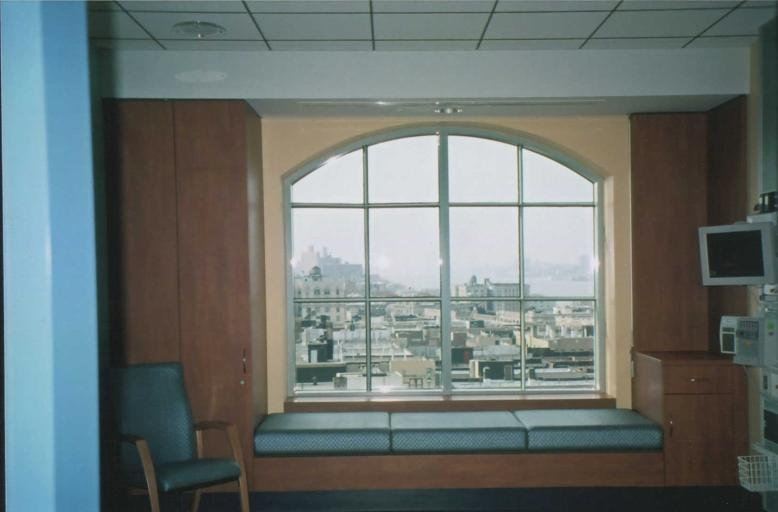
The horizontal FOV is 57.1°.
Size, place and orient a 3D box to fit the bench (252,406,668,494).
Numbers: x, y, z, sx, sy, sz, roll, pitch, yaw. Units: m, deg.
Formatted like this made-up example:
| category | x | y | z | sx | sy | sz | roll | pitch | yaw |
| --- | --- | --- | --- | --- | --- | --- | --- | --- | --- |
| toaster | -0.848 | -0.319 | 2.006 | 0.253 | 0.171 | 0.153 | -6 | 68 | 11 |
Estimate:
| category | x | y | z | sx | sy | sz | roll | pitch | yaw |
| --- | --- | --- | --- | --- | --- | --- | --- | --- | --- |
| bench | 0.629 | 1.841 | 6.656 | 3.759 | 0.638 | 0.215 | -2 | -2 | 0 |

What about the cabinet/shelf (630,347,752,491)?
| category | x | y | z | sx | sy | sz | roll | pitch | yaw |
| --- | --- | --- | --- | --- | --- | --- | --- | --- | --- |
| cabinet/shelf | 2.642 | 1.554 | 7.005 | 1.071 | 1.459 | 1.090 | -1 | -5 | 4 |

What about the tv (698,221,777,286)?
| category | x | y | z | sx | sy | sz | roll | pitch | yaw |
| --- | --- | --- | --- | --- | --- | --- | --- | --- | --- |
| tv | 2.972 | -0.009 | 6.056 | 0.207 | 0.470 | 0.569 | -6 | 3 | -35 |
